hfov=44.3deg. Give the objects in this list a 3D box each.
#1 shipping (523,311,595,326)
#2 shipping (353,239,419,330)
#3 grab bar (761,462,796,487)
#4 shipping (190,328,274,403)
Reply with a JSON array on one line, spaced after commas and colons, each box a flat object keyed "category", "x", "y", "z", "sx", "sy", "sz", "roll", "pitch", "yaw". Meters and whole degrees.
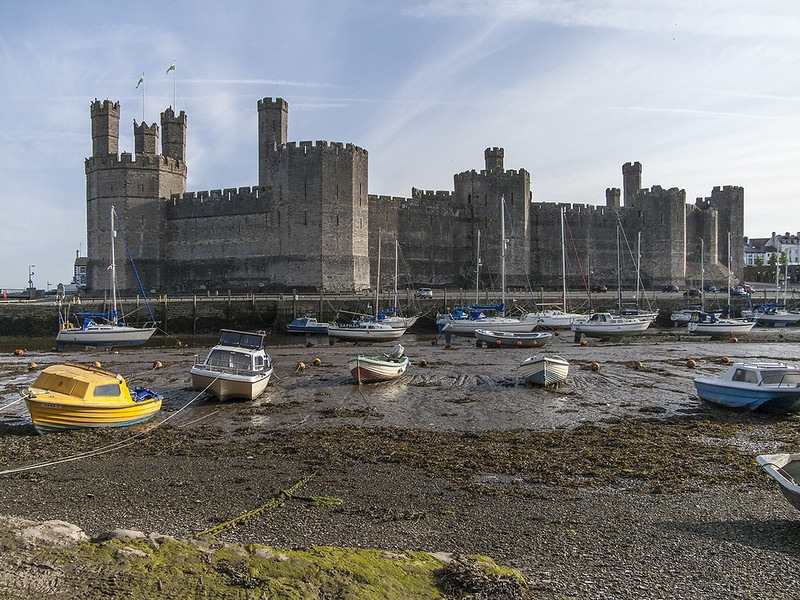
[{"category": "shipping", "x": 7.729, "y": 1.111, "z": 48.250, "sx": 3.745, "sy": 1.162, "sz": 1.119, "roll": 0, "pitch": 3, "yaw": 13}, {"category": "shipping", "x": -0.828, "y": -0.675, "z": 47.589, "sx": 3.537, "sy": 4.440, "sz": 1.407, "roll": -5, "pitch": 1, "yaw": 27}, {"category": "grab bar", "x": 7.755, "y": 3.587, "z": 20.050, "sx": 0.357, "sy": 0.129, "sz": 0.603, "roll": -27, "pitch": 55, "yaw": -28}, {"category": "shipping", "x": -4.668, "y": 1.727, "z": 29.167, "sx": 2.023, "sy": 1.758, "sz": 3.595, "roll": 8, "pitch": 10, "yaw": 9}]
